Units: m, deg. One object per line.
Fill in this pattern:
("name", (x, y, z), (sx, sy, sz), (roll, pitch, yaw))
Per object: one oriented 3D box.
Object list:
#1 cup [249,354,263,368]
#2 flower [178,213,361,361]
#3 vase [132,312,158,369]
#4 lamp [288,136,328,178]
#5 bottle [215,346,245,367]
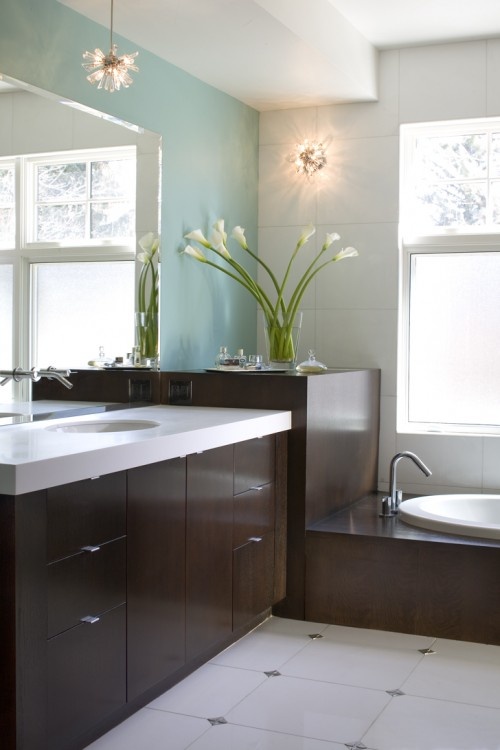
("cup", (0.028, -0.065, 2.949), (0.054, 0.076, 0.061), (0, 3, -9))
("flower", (0.053, -0.486, 3.340), (0.722, 0.753, 0.788), (1, -3, -20))
("vase", (-0.449, -0.166, 2.712), (0.110, 0.218, 0.108), (-5, 9, -45))
("lamp", (0.352, -1.268, 3.634), (0.183, 0.227, 0.085), (0, 1, 23))
("bottle", (-0.091, -0.071, 2.920), (0.109, 0.097, 0.120), (2, 1, 0))
